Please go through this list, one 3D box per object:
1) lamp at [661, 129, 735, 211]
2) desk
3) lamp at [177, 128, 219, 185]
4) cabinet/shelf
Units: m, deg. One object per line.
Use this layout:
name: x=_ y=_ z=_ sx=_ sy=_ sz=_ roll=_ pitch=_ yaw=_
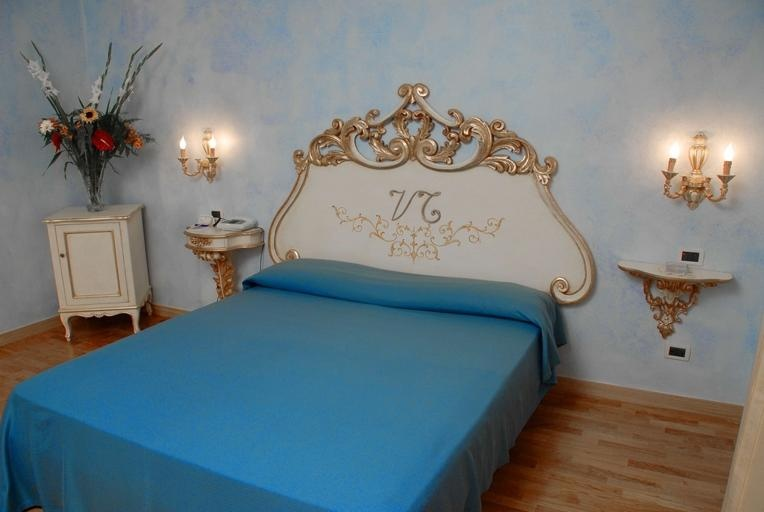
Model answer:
lamp: x=1.958 y=-0.517 z=3.323 sx=0.402 sy=0.481 sz=0.236 roll=6 pitch=11 yaw=27
desk: x=-1.270 y=0.096 z=4.514 sx=0.512 sy=0.558 sz=0.510 roll=-9 pitch=10 yaw=-43
lamp: x=-1.520 y=-0.843 z=4.520 sx=0.396 sy=0.503 sz=0.251 roll=4 pitch=7 yaw=21
cabinet/shelf: x=-2.420 y=0.111 z=4.707 sx=0.665 sy=1.001 sz=0.607 roll=-1 pitch=15 yaw=-7
